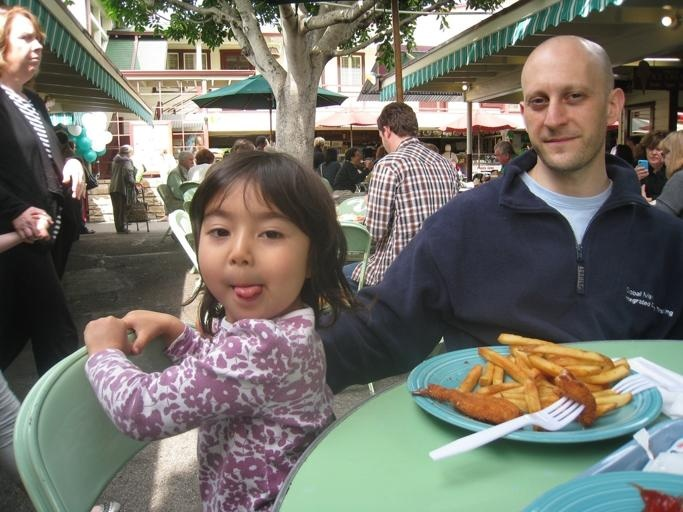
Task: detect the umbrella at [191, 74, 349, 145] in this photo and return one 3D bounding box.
[{"bbox_3d":[-1.566,-3.387,10.949,3.223,1.518,2.521,-1,11,-31],"label":"umbrella"}]

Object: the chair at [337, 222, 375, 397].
[{"bbox_3d":[0.102,0.310,3.930,0.429,1.138,0.427,5,11,9],"label":"chair"}]

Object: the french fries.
[{"bbox_3d":[0.476,0.233,1.140,0.250,0.185,0.252,-8,10,-41],"label":"french fries"}]

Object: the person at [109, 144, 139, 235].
[{"bbox_3d":[-5.534,-1.705,12.898,0.640,2.665,0.666,-3,15,-38],"label":"person"}]

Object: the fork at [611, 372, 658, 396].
[{"bbox_3d":[0.653,0.290,1.115,0.148,0.016,0.040,-5,36,-42],"label":"fork"}]

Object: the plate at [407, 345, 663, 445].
[{"bbox_3d":[0.386,0.255,1.092,0.390,0.153,0.366,-8,9,-32],"label":"plate"}]
